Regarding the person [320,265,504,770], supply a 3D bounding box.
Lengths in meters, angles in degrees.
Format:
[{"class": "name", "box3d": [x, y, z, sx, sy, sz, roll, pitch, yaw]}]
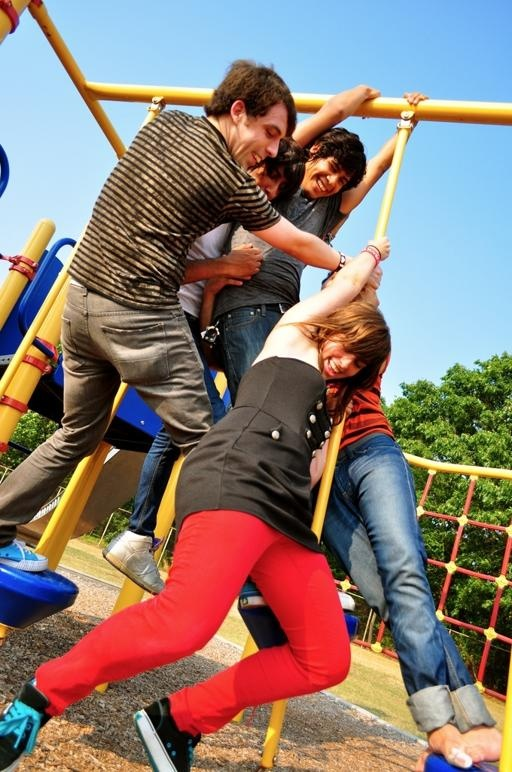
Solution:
[{"class": "person", "box3d": [0.362, 0.459, 1.777, 0.391, 1.518, 0.413, -34, -57, 22]}]

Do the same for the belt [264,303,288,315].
[{"class": "belt", "box3d": [0.084, -0.277, 1.829, 0.046, 0.022, 0.066, 9, -7, -17]}]
